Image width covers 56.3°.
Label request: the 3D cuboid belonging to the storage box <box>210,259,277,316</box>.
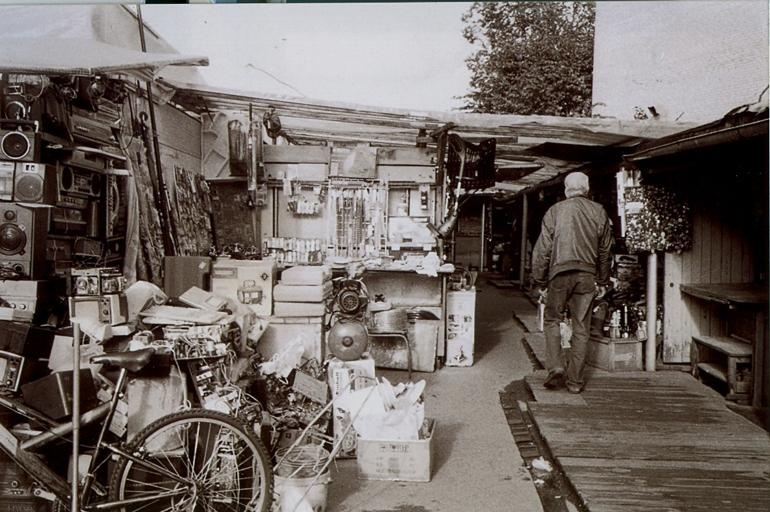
[{"bbox_3d":[-2.007,0.387,10.235,0.792,0.698,0.804,1,4,0],"label":"storage box"}]

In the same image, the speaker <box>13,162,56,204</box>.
[{"bbox_3d":[-4.281,-0.890,8.762,0.435,0.472,0.471,3,-1,-12],"label":"speaker"}]

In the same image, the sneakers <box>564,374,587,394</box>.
[{"bbox_3d":[2.630,1.775,10.010,0.279,0.366,0.210,1,-7,-8],"label":"sneakers"}]

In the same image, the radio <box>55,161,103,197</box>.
[{"bbox_3d":[-3.985,-0.997,9.327,0.076,0.370,0.732,1,0,15],"label":"radio"}]

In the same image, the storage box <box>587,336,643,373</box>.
[{"bbox_3d":[3.498,1.477,11.146,0.592,0.483,0.963,0,0,-8],"label":"storage box"}]

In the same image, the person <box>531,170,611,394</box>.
[{"bbox_3d":[2.574,0.338,9.944,1.061,3.084,0.465,1,1,13],"label":"person"}]
